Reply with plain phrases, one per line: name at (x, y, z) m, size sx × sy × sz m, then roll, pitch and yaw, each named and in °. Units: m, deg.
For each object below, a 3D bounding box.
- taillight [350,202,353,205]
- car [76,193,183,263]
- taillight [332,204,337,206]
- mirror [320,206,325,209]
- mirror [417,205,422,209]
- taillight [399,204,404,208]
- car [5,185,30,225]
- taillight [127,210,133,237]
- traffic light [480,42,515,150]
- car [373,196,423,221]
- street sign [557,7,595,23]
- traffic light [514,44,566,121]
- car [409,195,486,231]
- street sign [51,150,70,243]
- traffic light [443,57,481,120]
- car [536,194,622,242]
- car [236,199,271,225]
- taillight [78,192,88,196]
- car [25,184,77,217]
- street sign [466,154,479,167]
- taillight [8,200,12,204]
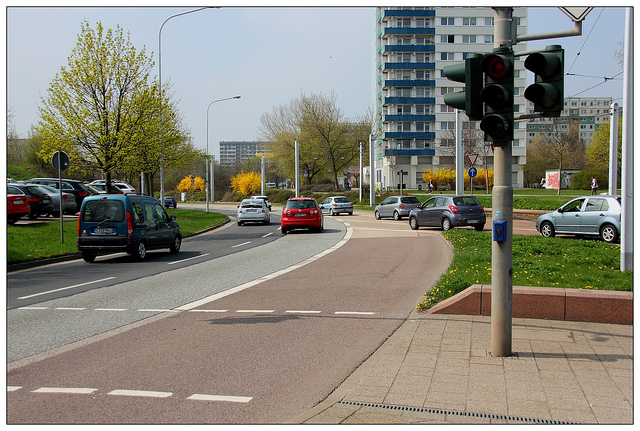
taillight at (2.589, -1.033, 47.738) m, size 0.164 × 0.168 × 0.171 m, roll 1°, pitch 0°, yaw 14°
car at (-6.496, 0.279, 19.984) m, size 1.833 × 1.645 × 3.337 m, roll -1°, pitch 4°, yaw 12°
taillight at (1.176, -0.882, 45.816) m, size 0.040 × 0.141 × 0.443 m, roll -11°, pitch 14°, yaw -42°
mirror at (0.188, -0.727, 48.174) m, size 0.166 × 0.176 × 0.307 m, roll -3°, pitch 1°, yaw -20°
mirror at (4.884, -0.420, 28.718) m, size 0.181 × 0.130 × 0.168 m, roll -9°, pitch 15°, yaw -34°
taillight at (5.070, -0.642, 36.050) m, size 0.236 × 0.220 × 0.241 m, roll 0°, pitch -2°, yaw 14°
car at (-13.322, -0.352, 25.728) m, size 0.814 × 1.775 × 4.865 m, roll -7°, pitch 12°, yaw -26°
taillight at (-6.099, 0.239, 18.673) m, size 0.140 × 0.791 × 0.197 m, roll -4°, pitch 11°, yaw -12°
traffic light at (2.779, -1.864, 9.123) m, size 0.524 × 1.629 × 0.612 m, roll 1°, pitch 11°, yaw 16°
car at (4.897, -0.556, 36.999) m, size 1.376 × 1.054 × 2.514 m, roll -4°, pitch 6°, yaw -28°
street sign at (4.444, -3.488, 10.158) m, size 0.505 × 0.317 × 0.362 m, roll 4°, pitch 12°, yaw 28°
traffic light at (3.475, -2.077, 9.025) m, size 0.539 × 1.054 × 0.307 m, roll 2°, pitch 11°, yaw 19°
car at (6.002, -0.155, 27.067) m, size 1.471 × 1.090 × 2.468 m, roll -1°, pitch 6°, yaw -23°
street sign at (-9.676, -0.829, 21.804) m, size 0.672 × 3.109 × 0.138 m, roll -1°, pitch 2°, yaw -33°
traffic light at (2.329, -2.041, 9.426) m, size 0.436 × 0.956 × 0.724 m, roll -6°, pitch 11°, yaw -19°
car at (9.578, 0.051, 21.335) m, size 1.567 × 1.237 × 2.726 m, roll 0°, pitch 5°, yaw -34°
car at (-4.172, -0.221, 36.909) m, size 1.716 × 1.607 × 2.555 m, roll -2°, pitch 10°, yaw 0°
taillight at (-13.434, -1.271, 33.039) m, size 0.370 × 0.109 × 0.237 m, roll -3°, pitch 9°, yaw 1°
car at (-14.137, -0.829, 29.972) m, size 2.910 × 1.119 × 1.294 m, roll 3°, pitch 0°, yaw 13°
street sign at (8.737, -3.208, 33.383) m, size 0.548 × 0.746 × 2.224 m, roll 1°, pitch 11°, yaw 14°
taillight at (-12.911, -0.611, 24.197) m, size 0.146 × 0.147 × 0.076 m, roll 1°, pitch -5°, yaw -24°
